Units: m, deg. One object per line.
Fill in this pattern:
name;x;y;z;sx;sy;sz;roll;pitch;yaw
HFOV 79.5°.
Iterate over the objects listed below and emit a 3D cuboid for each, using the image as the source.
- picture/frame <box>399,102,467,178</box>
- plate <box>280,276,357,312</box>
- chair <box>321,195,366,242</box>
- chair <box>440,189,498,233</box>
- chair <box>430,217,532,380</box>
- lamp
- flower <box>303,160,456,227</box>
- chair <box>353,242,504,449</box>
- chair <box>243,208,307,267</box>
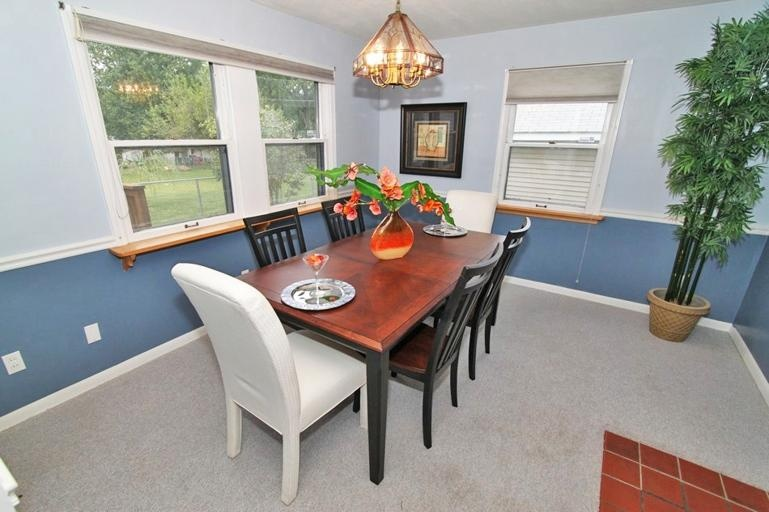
picture/frame;0.602;-1.426;5.545;0.845;0.867;0.064;12;23;31
plate;-0.480;0.270;3.352;0.502;0.023;0.507;5;22;9
chair;-0.407;-0.346;4.413;0.340;0.568;0.316;24;41;29
chair;0.908;-0.537;4.967;0.446;0.622;0.482;8;18;27
chair;0.798;0.399;3.958;0.880;1.421;0.816;15;35;27
lamp;0.100;-1.694;3.687;0.697;0.635;0.381;4;19;9
flower;-0.030;-0.523;3.847;1.170;0.407;0.559;5;20;-2
chair;0.304;0.675;3.702;0.982;1.565;0.919;10;20;23
chair;-1.008;-0.157;4.133;0.390;0.580;0.324;25;37;33
